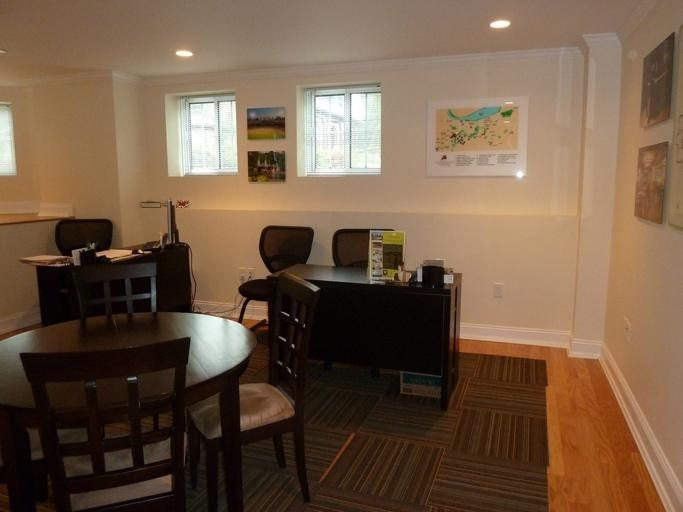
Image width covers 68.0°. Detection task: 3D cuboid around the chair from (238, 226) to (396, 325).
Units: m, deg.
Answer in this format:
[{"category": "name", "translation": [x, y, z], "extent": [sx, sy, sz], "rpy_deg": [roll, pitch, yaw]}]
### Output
[{"category": "chair", "translation": [-0.286, 0.392, 5.031], "extent": [1.782, 1.351, 0.841], "rpy_deg": [0, 1, 14]}]
